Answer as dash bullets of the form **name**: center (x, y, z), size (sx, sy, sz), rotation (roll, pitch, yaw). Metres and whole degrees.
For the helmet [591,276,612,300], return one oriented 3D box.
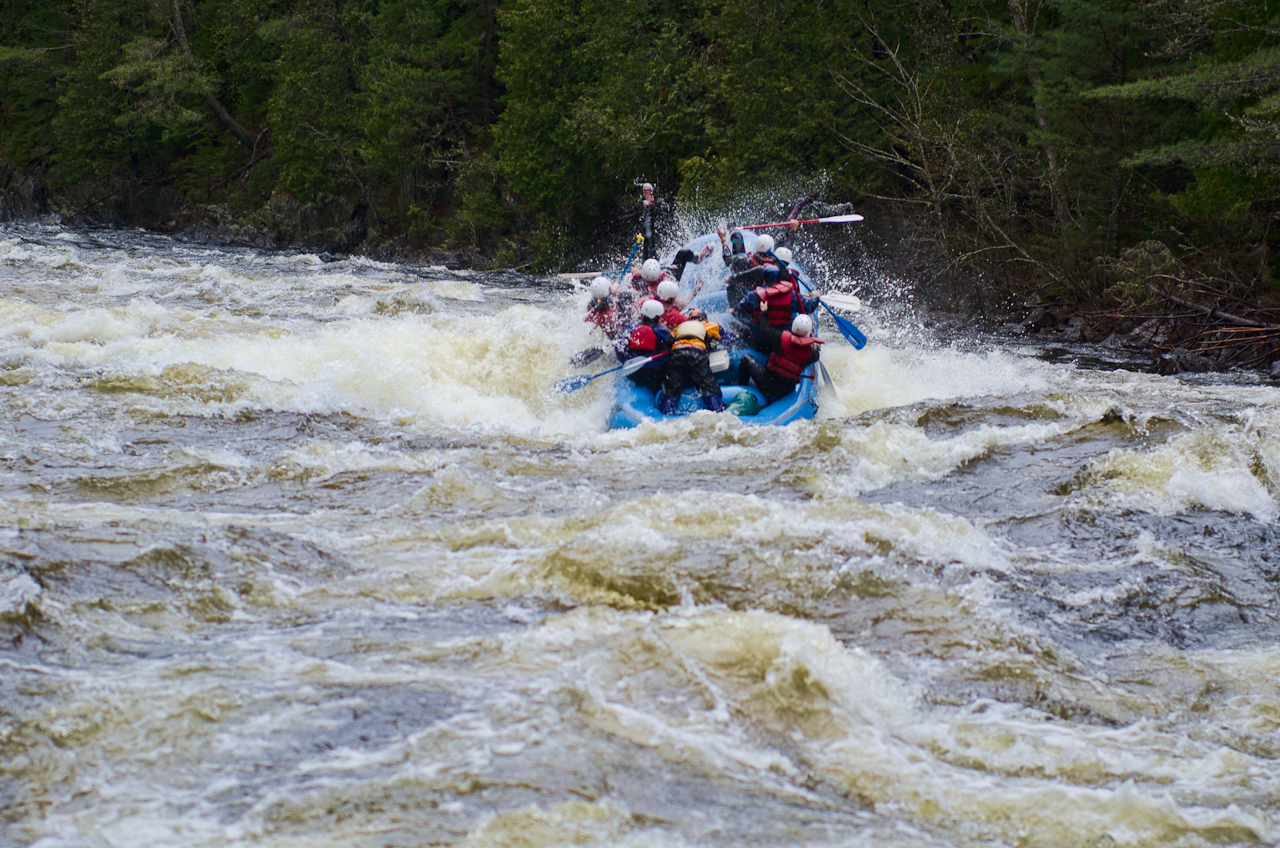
- **helmet**: center (-0.586, -1.851, 21.786), size (0.302, 0.218, 0.247), rotation (-3, -21, 41)

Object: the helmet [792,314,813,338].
- **helmet**: center (2.084, -1.250, 20.603), size (0.298, 0.234, 0.217), rotation (-19, 40, -41)

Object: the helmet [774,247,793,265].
- **helmet**: center (1.997, -2.326, 22.363), size (0.282, 0.251, 0.298), rotation (-2, 12, -10)

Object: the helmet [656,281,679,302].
- **helmet**: center (0.322, -1.753, 21.391), size (0.281, 0.219, 0.262), rotation (-26, -17, -10)

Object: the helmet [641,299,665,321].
- **helmet**: center (0.125, -1.465, 20.931), size (0.287, 0.230, 0.259), rotation (-10, -25, -21)

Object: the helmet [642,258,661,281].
- **helmet**: center (0.130, -2.065, 21.783), size (0.221, 0.238, 0.290), rotation (5, -5, 3)

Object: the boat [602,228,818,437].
- **boat**: center (1.039, -0.894, 21.123), size (2.586, 1.566, 3.199), rotation (2, 12, 10)
